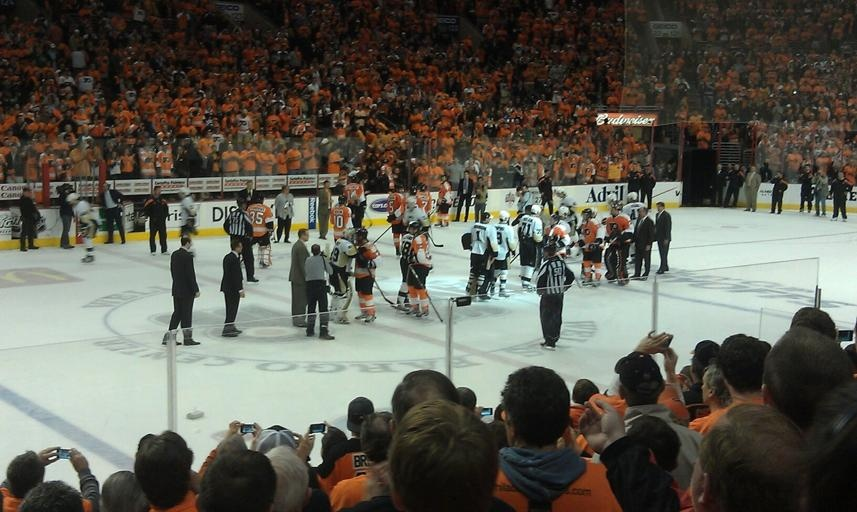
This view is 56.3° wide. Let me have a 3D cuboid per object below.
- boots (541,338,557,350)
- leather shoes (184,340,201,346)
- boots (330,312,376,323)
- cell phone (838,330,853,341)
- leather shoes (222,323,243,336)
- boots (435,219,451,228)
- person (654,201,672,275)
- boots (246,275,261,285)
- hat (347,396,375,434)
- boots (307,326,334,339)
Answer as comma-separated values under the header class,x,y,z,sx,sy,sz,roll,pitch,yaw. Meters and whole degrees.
class,x,y,z,sx,sy,sz,roll,pitch,yaw
boots,1.981,1.458,13.241,0.264,0.226,0.128,3,5,8
leather shoes,-3.341,1.228,11.333,0.220,0.082,0.067,-2,7,-16
boots,-1.157,1.012,12.831,0.605,0.226,0.173,-6,11,-6
cell phone,6.322,1.214,12.197,0.221,0.131,0.112,-1,-3,-5
leather shoes,-2.853,1.064,11.616,0.301,0.182,0.095,-7,20,-25
boots,0.500,-1.232,29.690,0.565,0.310,0.178,5,12,13
person,6.325,-0.517,21.816,0.405,1.895,1.565,2,4,16
boots,-4.484,0.582,20.528,0.309,0.263,0.132,-12,19,-39
hat,-0.833,1.998,9.940,0.358,0.295,0.544,-2,11,-7
boots,-1.642,1.164,12.115,0.439,0.172,0.137,3,6,-10
